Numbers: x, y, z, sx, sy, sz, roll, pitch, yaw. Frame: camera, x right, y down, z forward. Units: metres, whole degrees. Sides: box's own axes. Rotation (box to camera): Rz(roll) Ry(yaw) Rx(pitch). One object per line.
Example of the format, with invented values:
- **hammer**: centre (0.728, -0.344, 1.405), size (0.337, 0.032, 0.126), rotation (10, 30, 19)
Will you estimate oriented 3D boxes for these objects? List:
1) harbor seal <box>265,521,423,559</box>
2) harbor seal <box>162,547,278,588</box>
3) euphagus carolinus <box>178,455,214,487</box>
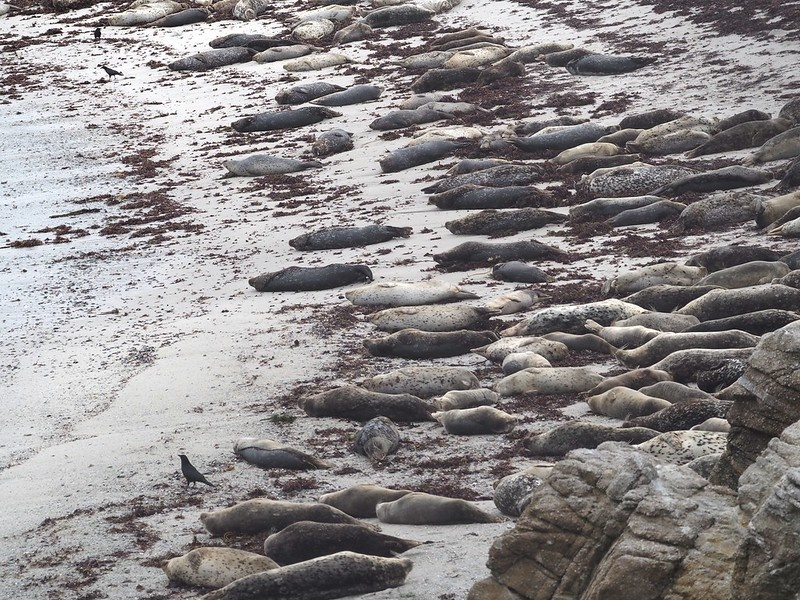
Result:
- **harbor seal**: centre (-0.821, 3.829, 31.675), size (2.752, 0.653, 0.610), rotation (1, 27, 11)
- **harbor seal**: centre (-2.801, 4.176, 31.442), size (1.761, 0.419, 0.620), rotation (-2, 7, 12)
- **euphagus carolinus**: centre (-3.232, 2.759, 32.520), size (0.597, 0.485, 0.248), rotation (2, 26, 12)
